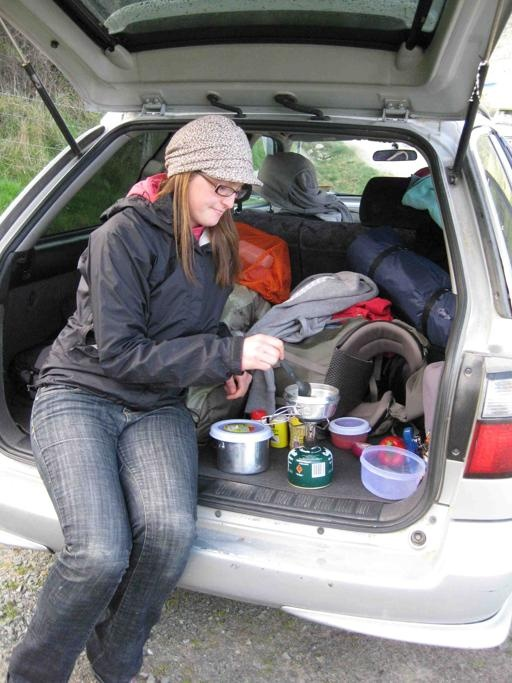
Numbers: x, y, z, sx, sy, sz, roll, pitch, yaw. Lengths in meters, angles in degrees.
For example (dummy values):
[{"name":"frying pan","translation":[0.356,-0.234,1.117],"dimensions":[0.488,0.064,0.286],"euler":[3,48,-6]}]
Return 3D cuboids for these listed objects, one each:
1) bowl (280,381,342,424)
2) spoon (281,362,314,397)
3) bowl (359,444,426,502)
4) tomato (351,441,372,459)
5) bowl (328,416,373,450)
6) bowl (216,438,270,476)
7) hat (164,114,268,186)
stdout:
[{"name":"bowl","translation":[0.164,0.178,1.565],"dimensions":[0.148,0.078,0.142],"euler":[1,-1,0]},{"name":"spoon","translation":[0.121,0.103,1.602],"dimensions":[0.049,0.031,0.177],"euler":[-24,28,-5]},{"name":"bowl","translation":[0.393,0.376,1.558],"dimensions":[0.194,0.079,0.212],"euler":[8,11,-2]},{"name":"tomato","translation":[0.349,0.369,1.798],"dimensions":[0.052,0.031,0.053],"euler":[2,12,4]},{"name":"bowl","translation":[0.333,0.328,1.905],"dimensions":[0.121,0.056,0.117],"euler":[0,8,0]},{"name":"bowl","translation":[-0.046,0.340,1.639],"dimensions":[0.122,0.089,0.129],"euler":[0,4,0]},{"name":"hat","translation":[-0.124,-0.509,1.424],"dimensions":[0.260,0.133,0.173],"euler":[15,20,25]}]
